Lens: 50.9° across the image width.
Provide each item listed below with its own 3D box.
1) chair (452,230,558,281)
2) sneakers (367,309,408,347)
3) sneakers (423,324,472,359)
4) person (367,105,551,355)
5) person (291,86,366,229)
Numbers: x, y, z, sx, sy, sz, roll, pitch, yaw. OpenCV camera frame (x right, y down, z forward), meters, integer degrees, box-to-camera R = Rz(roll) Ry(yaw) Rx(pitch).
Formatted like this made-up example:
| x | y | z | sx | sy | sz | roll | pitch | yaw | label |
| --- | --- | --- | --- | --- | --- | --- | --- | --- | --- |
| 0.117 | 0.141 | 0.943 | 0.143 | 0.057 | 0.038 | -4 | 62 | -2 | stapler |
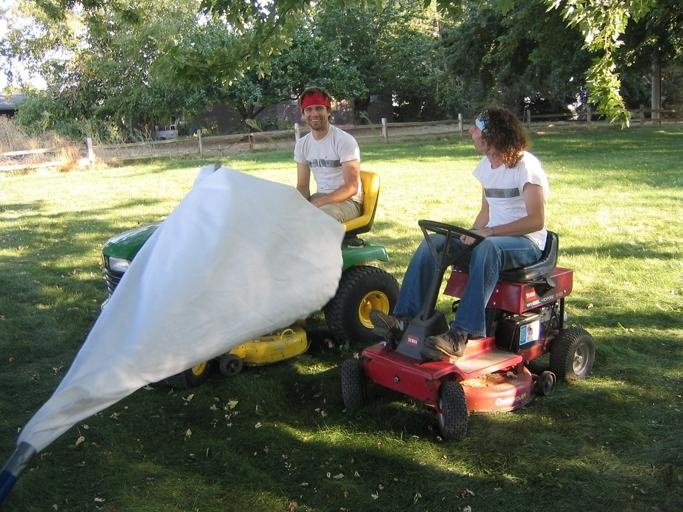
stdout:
| x | y | z | sx | sy | sz | roll | pitch | yaw | label |
| --- | --- | --- | --- | --- | --- | --- | --- | --- | --- |
| 1.291 | -0.035 | 6.093 | 0.618 | 0.333 | 0.650 | -22 | -11 | 28 | chair |
| 0.387 | 0.606 | 5.946 | 0.349 | 0.121 | 0.160 | 42 | 27 | 11 | sneakers |
| 0.835 | 0.679 | 5.707 | 0.355 | 0.220 | 0.166 | 20 | 10 | -21 | sneakers |
| 1.090 | -0.232 | 5.917 | 1.345 | 1.937 | 0.711 | -10 | 13 | -36 | person |
| -0.126 | -0.995 | 6.986 | 0.627 | 1.276 | 0.956 | -5 | 11 | -12 | person |
